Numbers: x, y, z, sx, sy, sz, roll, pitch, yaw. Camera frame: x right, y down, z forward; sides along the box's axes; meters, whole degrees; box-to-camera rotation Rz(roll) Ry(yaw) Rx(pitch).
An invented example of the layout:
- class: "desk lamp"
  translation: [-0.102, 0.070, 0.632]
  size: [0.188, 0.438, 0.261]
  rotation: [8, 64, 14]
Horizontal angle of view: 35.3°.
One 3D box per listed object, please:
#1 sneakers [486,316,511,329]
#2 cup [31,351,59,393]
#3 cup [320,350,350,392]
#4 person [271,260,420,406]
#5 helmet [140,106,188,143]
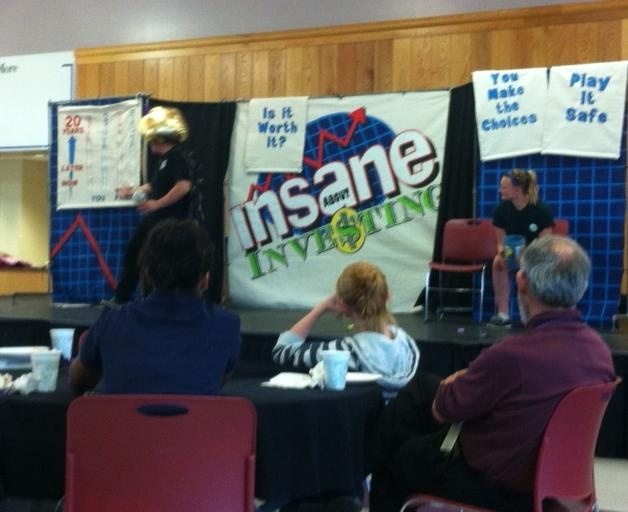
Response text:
- class: "sneakers"
  translation: [1.351, 0.500, 7.278]
  size: [0.190, 0.095, 0.080]
  rotation: [2, -3, -14]
- class: "cup"
  translation: [-1.336, 0.588, 4.957]
  size: [0.170, 0.220, 0.182]
  rotation: [0, -2, 0]
- class: "cup"
  translation: [0.087, 0.579, 4.959]
  size: [0.168, 0.200, 0.172]
  rotation: [0, -6, 0]
- class: "person"
  translation: [0.223, 0.466, 5.885]
  size: [0.433, 0.383, 0.723]
  rotation: [-13, -33, -20]
- class: "helmet"
  translation: [-1.205, -1.040, 7.917]
  size: [0.342, 0.325, 0.283]
  rotation: [-2, 25, 22]
